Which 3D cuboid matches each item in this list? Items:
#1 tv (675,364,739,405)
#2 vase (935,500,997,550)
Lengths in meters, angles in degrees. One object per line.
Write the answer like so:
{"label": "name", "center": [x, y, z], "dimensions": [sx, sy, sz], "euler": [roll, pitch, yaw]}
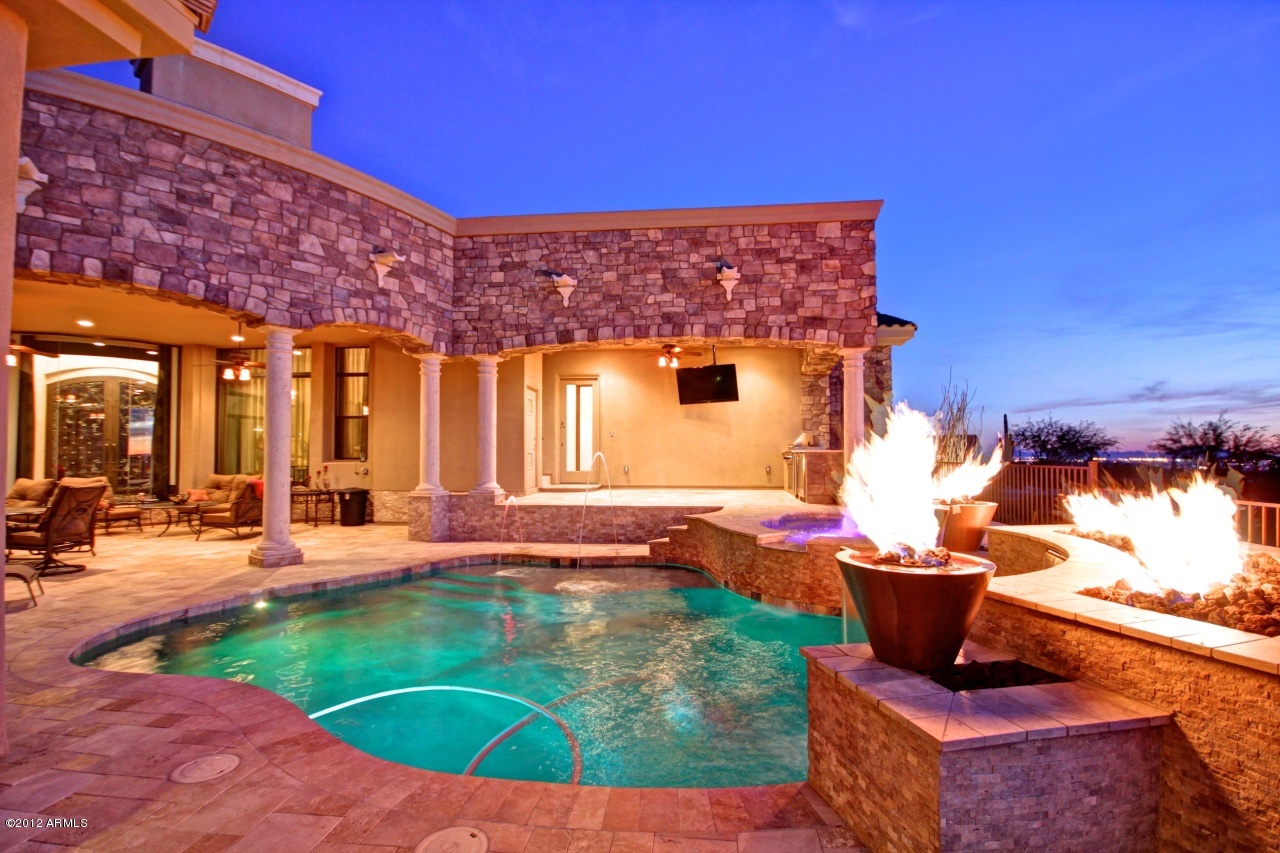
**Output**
{"label": "tv", "center": [1.652, -1.013, 18.619], "dimensions": [1.570, 1.067, 0.219], "euler": [5, 11, 8]}
{"label": "vase", "center": [4.852, 1.530, 11.375], "dimensions": [0.946, 0.537, 0.848], "euler": [0, -7, 1]}
